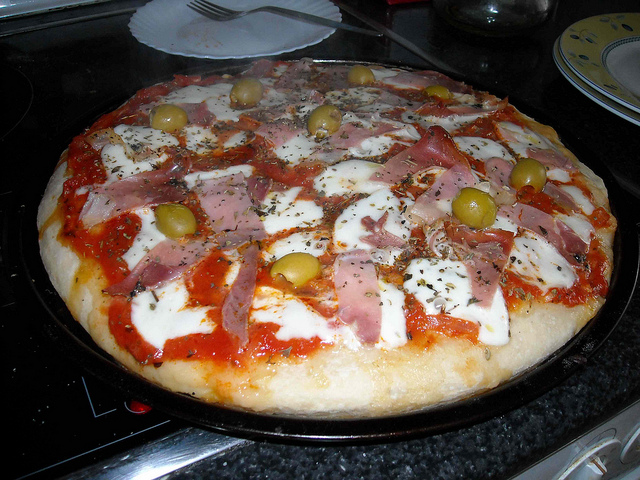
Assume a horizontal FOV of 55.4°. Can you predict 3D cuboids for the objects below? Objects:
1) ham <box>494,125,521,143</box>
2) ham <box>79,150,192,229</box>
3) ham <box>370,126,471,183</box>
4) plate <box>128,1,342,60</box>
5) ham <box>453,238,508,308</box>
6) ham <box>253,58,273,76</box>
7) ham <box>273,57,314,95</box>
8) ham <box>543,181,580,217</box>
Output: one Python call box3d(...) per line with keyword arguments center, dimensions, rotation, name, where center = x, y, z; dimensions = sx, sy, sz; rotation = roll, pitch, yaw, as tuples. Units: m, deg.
box3d(center=(1.193, -0.677, 3.914), dimensions=(0.166, 0.032, 0.081), rotation=(21, 55, 15), name="ham")
box3d(center=(-1.010, -0.277, 3.527), dimensions=(0.673, 0.154, 0.293), rotation=(-27, 61, -19), name="ham")
box3d(center=(0.585, -0.481, 3.544), dimensions=(0.368, 0.144, 0.493), rotation=(40, 65, 15), name="ham")
box3d(center=(-0.739, -1.731, 5.049), dimensions=(1.654, 0.274, 1.003), rotation=(1, 54, 0), name="plate")
box3d(center=(0.830, 0.143, 3.201), dimensions=(0.402, 0.067, 0.487), rotation=(3, 54, -14), name="ham")
box3d(center=(-0.435, -1.249, 4.462), dimensions=(0.130, 0.029, 0.130), rotation=(-44, 70, -7), name="ham")
box3d(center=(-0.142, -1.178, 4.377), dimensions=(0.103, 0.415, 0.189), rotation=(-41, 104, -30), name="ham")
box3d(center=(1.433, -0.240, 3.608), dimensions=(0.254, 0.047, 0.154), rotation=(29, 54, 23), name="ham")
